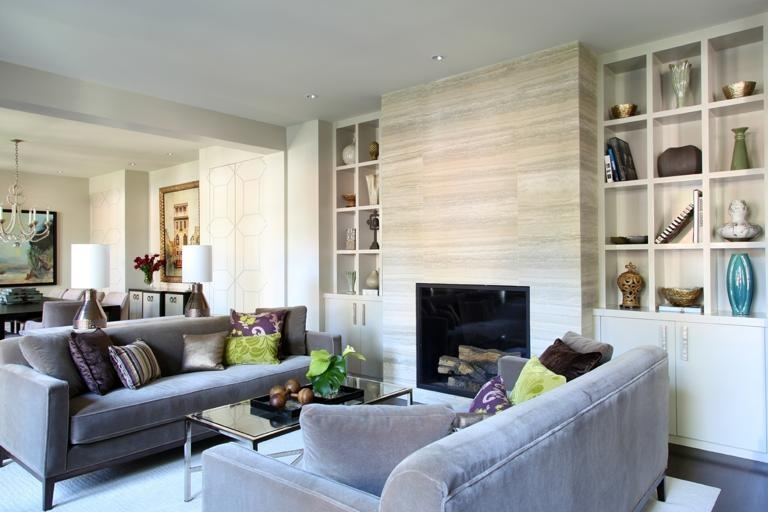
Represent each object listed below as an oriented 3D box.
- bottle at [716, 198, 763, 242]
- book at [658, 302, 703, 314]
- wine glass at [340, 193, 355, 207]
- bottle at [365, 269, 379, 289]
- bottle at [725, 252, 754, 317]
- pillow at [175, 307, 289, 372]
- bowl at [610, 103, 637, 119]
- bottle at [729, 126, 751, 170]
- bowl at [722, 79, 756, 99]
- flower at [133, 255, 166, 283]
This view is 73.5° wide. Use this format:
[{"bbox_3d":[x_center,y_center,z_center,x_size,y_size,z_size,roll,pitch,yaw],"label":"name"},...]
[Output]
[{"bbox_3d":[3.091,-0.302,4.479,0.343,0.381,0.288,-1,-1,35],"label":"bottle"},{"bbox_3d":[2.630,0.471,4.566,0.341,0.090,0.293,-1,-1,37],"label":"book"},{"bbox_3d":[-0.466,-0.712,6.596,0.180,0.153,0.164,-5,3,-11],"label":"wine glass"},{"bbox_3d":[-0.102,0.315,6.417,0.204,0.228,0.200,1,-3,3],"label":"bottle"},{"bbox_3d":[3.028,0.241,4.381,0.192,0.559,0.143,-1,0,15],"label":"bottle"},{"bbox_3d":[-1.434,0.848,4.976,0.634,0.609,0.188,3,-14,-6],"label":"pillow"},{"bbox_3d":[2.279,-1.358,4.863,0.186,0.065,0.182,-1,0,0],"label":"bowl"},{"bbox_3d":[3.114,-0.931,4.496,0.145,0.407,0.307,-1,0,36],"label":"bottle"},{"bbox_3d":[3.071,-1.400,4.422,0.197,0.085,0.193,-1,0,0],"label":"bowl"},{"bbox_3d":[-3.993,0.153,8.660,0.581,0.565,0.578,-1,4,-32],"label":"flower"}]
